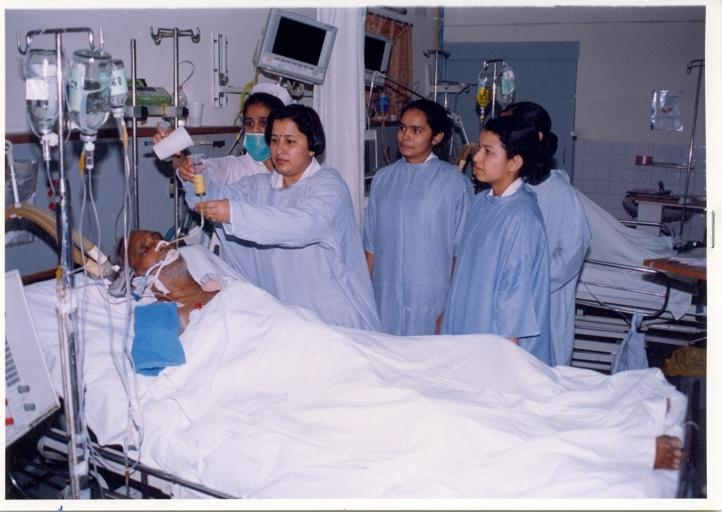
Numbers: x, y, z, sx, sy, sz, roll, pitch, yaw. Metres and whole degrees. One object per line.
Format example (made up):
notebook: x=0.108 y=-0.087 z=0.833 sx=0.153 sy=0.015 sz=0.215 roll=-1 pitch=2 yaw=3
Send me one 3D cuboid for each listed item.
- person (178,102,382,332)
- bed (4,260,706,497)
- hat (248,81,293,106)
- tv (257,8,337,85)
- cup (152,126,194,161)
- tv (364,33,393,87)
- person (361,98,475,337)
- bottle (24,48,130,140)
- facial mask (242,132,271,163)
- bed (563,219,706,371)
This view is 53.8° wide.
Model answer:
person: x=-0.407 y=-0.017 z=3.787 sx=0.902 sy=1.475 sz=0.629 roll=-11 pitch=24 yaw=-14
bed: x=0.130 y=0.638 z=3.002 sx=2.236 sy=0.649 sz=0.795 roll=5 pitch=9 yaw=11
hat: x=-0.554 y=-0.959 z=4.408 sx=0.187 sy=0.097 sz=0.228 roll=16 pitch=-6 yaw=41
tv: x=-0.387 y=-1.288 z=4.432 sx=0.499 sy=0.453 sz=0.296 roll=18 pitch=6 yaw=0
cup: x=-0.905 y=-0.541 z=3.432 sx=0.165 sy=0.159 sz=0.131 roll=1 pitch=9 yaw=-14
tv: x=0.114 y=-1.521 z=5.544 sx=0.170 sy=0.378 sz=0.426 roll=5 pitch=9 yaw=14
person: x=0.283 y=0.030 z=4.258 sx=0.632 sy=1.857 sz=0.427 roll=11 pitch=30 yaw=18
bottle: x=-1.104 y=-0.618 z=2.791 sx=0.248 sy=0.373 sz=0.354 roll=9 pitch=10 yaw=34
facial mask: x=-0.595 y=-0.626 z=4.118 sx=0.130 sy=0.101 sz=0.156 roll=4 pitch=27 yaw=4
bed: x=1.651 y=0.272 z=4.494 sx=1.100 sy=0.569 sz=0.695 roll=2 pitch=9 yaw=17
